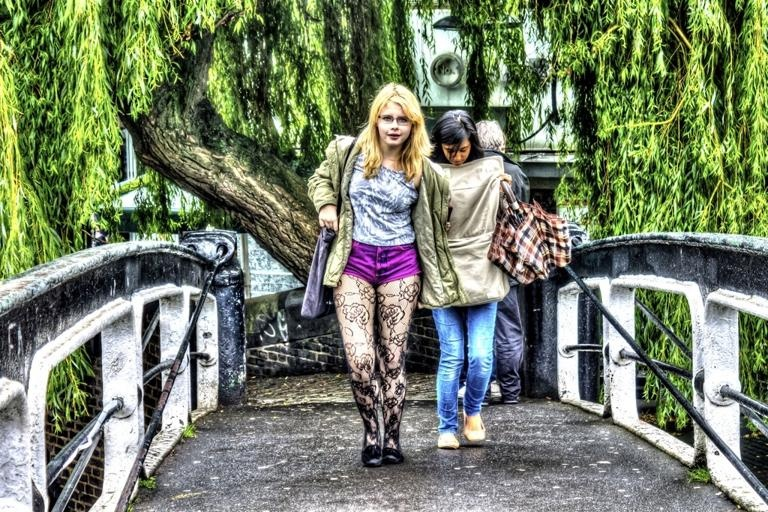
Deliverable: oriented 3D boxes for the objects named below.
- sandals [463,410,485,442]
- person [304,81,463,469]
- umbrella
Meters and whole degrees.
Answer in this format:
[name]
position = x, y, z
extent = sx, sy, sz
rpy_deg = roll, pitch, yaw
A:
[sandals]
position = 0.640, 1.210, 6.807
extent = 0.086, 0.133, 0.283
rpy_deg = -2, 17, -4
[person]
position = 0.002, 0.130, 6.458
extent = 0.944, 2.516, 0.334
rpy_deg = 0, 4, 4
[umbrella]
position = 0.981, -0.256, 6.727
extent = 0.561, 1.023, 0.261
rpy_deg = -12, 44, 9
